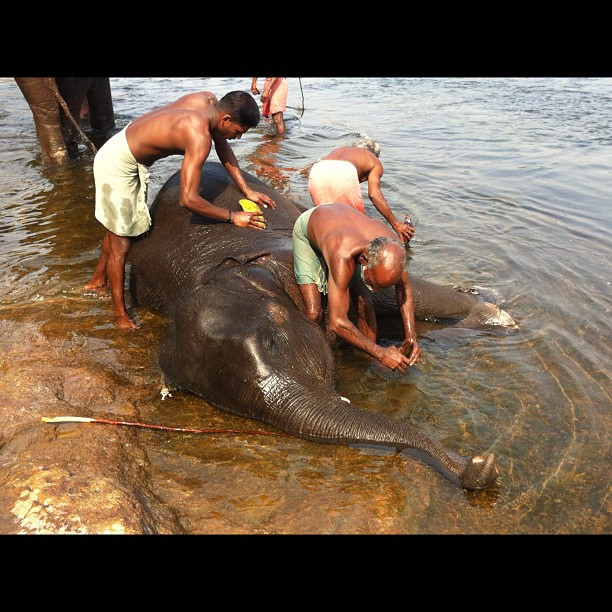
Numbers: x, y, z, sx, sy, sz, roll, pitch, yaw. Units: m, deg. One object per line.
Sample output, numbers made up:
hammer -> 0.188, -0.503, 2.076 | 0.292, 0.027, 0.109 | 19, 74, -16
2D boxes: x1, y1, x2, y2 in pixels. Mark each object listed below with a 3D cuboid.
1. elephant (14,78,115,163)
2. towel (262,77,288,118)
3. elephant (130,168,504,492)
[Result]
elephant -> -3.933, -3.271, 10.422 | 1.008, 1.442, 3.438 | -6, 32, -8
towel -> -0.576, -4.225, 12.601 | 0.399, 0.852, 0.672 | -9, 37, -12
elephant -> -0.142, 0.139, 5.016 | 2.373, 1.215, 3.817 | 4, 24, -35
